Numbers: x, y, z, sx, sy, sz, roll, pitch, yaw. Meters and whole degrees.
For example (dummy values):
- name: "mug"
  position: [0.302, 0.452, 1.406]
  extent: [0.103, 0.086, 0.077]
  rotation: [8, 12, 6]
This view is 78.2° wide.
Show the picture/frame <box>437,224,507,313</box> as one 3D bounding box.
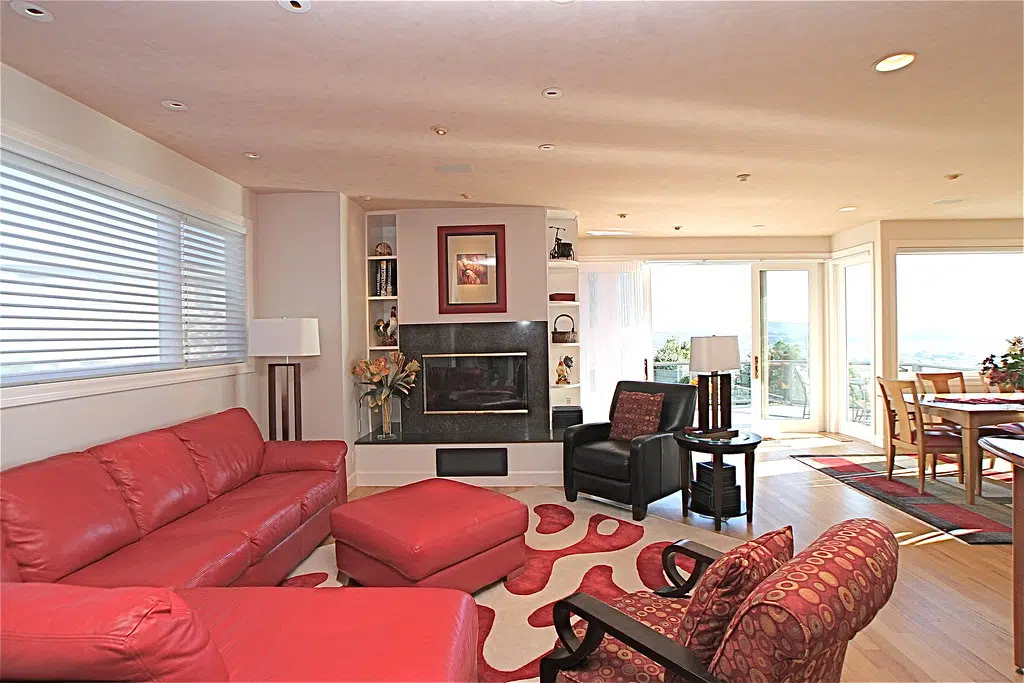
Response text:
- name: "picture/frame"
  position: [-0.423, -0.750, 6.634]
  extent: [0.699, 0.910, 0.255]
  rotation: [-2, 13, -6]

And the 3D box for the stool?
- name: "stool"
  position: [-0.589, 1.363, 4.494]
  extent: [1.088, 0.461, 1.073]
  rotation: [-7, 8, -37]

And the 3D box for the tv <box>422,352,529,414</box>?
- name: "tv"
  position: [-0.395, 0.425, 6.679]
  extent: [1.397, 0.672, 0.049]
  rotation: [-3, -5, 30]

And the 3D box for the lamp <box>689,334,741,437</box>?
- name: "lamp"
  position: [1.771, 0.376, 5.527]
  extent: [0.419, 0.879, 0.598]
  rotation: [-1, 12, 0]

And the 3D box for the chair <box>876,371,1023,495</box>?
- name: "chair"
  position: [4.110, 0.700, 6.215]
  extent: [1.226, 1.259, 1.457]
  rotation: [-1, 0, 5]

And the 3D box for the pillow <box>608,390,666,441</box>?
- name: "pillow"
  position: [1.196, 0.694, 5.869]
  extent: [0.537, 0.410, 0.149]
  rotation: [-3, -24, 46]

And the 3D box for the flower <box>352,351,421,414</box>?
- name: "flower"
  position: [-1.239, 0.380, 6.408]
  extent: [0.707, 0.542, 0.659]
  rotation: [0, -1, 27]

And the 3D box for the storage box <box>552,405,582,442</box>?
- name: "storage box"
  position: [0.551, 0.821, 6.529]
  extent: [0.359, 0.234, 0.309]
  rotation: [-1, -5, -1]

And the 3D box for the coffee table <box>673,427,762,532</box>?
- name: "coffee table"
  position: [1.777, 1.115, 5.463]
  extent: [0.936, 0.729, 0.871]
  rotation: [1, -2, -39]
